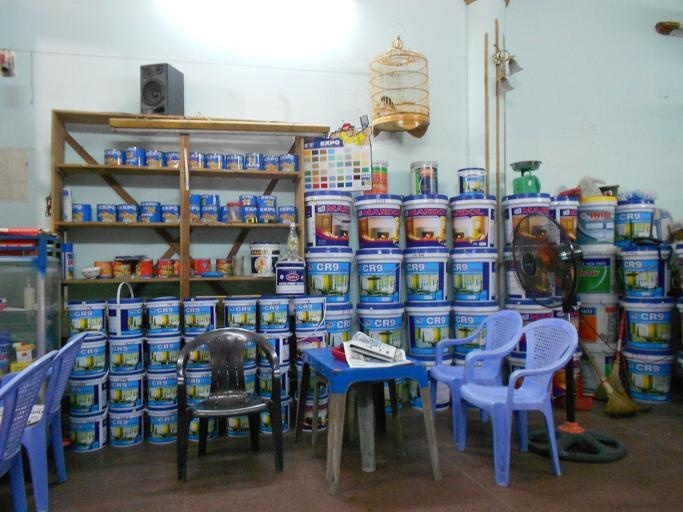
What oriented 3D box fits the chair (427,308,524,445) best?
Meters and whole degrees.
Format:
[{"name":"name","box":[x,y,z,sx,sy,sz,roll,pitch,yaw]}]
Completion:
[{"name":"chair","box":[1.110,0.955,5.623,0.737,0.968,0.779,0,2,-34]}]

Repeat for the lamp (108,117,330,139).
[{"name":"lamp","box":[-1.161,-1.215,6.221,1.943,0.219,0.262,-2,13,-7]}]

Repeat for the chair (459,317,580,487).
[{"name":"chair","box":[1.355,1.088,5.238,0.779,1.184,0.927,1,2,6]}]

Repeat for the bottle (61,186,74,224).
[{"name":"bottle","box":[-2.523,-0.479,6.107,0.099,0.277,0.244,-5,14,-21]}]

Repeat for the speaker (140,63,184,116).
[{"name":"speaker","box":[-1.692,-1.549,6.272,0.266,0.470,0.387,0,3,10]}]

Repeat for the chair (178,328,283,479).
[{"name":"chair","box":[-0.843,1.126,5.122,0.786,1.067,0.766,-1,1,0]}]

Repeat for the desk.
[{"name":"desk","box":[0.167,1.241,5.389,1.027,0.884,1.287,-1,2,-27]}]

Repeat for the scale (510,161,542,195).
[{"name":"scale","box":[1.891,-0.790,6.867,0.273,0.347,0.276,-1,0,-13]}]

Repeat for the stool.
[{"name":"stool","box":[0.152,1.201,5.135,0.668,0.886,0.657,-4,13,-16]}]

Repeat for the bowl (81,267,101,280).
[{"name":"bowl","box":[-2.281,0.159,6.062,0.125,0.093,0.127,0,-2,0]}]

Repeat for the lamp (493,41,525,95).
[{"name":"lamp","box":[1.732,-1.988,6.938,0.260,0.483,0.179,-9,-6,28]}]
